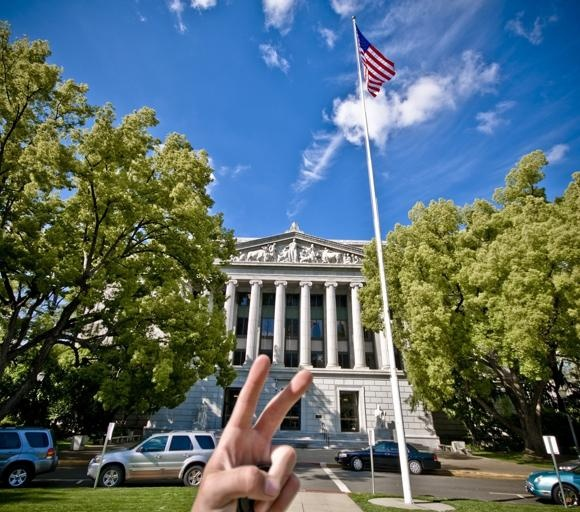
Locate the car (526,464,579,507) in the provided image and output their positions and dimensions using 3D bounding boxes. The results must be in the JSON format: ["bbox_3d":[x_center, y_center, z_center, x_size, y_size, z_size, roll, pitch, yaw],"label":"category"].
[{"bbox_3d":[8.501,7.517,11.716,1.768,0.697,0.939,-11,-31,13],"label":"car"}]
